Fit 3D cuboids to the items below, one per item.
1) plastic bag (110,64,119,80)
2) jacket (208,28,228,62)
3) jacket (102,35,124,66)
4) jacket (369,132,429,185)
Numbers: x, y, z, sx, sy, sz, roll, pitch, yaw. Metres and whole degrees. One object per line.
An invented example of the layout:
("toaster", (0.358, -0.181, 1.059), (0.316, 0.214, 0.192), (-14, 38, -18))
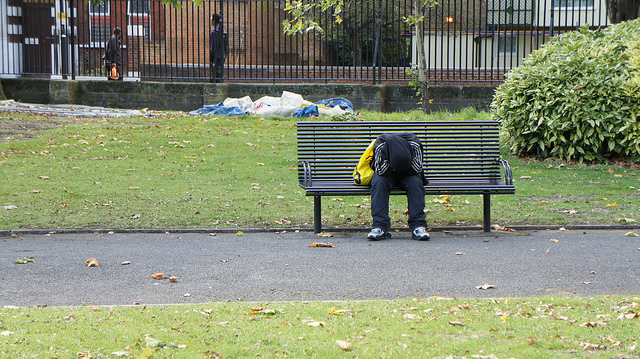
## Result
("plastic bag", (-7.643, -4.017, 45.406), (0.301, 0.540, 0.840), (-1, 7, -9))
("jacket", (-3.705, -4.927, 44.602), (0.561, 1.220, 1.213), (0, 7, -3))
("jacket", (-7.692, -4.929, 46.513), (1.237, 1.036, 0.381), (4, 3, 22))
("jacket", (2.138, -0.804, 34.418), (1.549, 1.028, 2.436), (2, 9, 0))
